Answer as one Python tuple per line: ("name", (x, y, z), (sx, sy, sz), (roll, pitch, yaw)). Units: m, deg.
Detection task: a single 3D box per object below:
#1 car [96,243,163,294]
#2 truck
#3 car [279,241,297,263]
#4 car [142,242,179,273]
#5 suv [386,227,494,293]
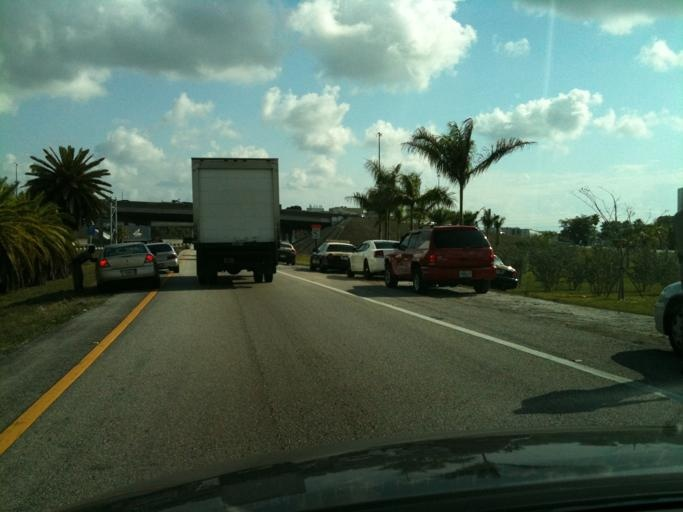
("car", (-6.338, 0.415, 21.102), (1.417, 1.018, 3.040), (-1, 4, -18))
("truck", (-3.241, -1.429, 23.802), (2.682, 3.224, 4.959), (0, 5, -6))
("car", (-3.537, -0.107, 46.308), (1.046, 0.868, 2.417), (2, 3, -1))
("car", (-8.130, 0.013, 32.012), (1.537, 1.239, 3.660), (0, 2, -10))
("suv", (2.520, 0.008, 20.064), (1.436, 1.241, 2.965), (1, 3, -16))
